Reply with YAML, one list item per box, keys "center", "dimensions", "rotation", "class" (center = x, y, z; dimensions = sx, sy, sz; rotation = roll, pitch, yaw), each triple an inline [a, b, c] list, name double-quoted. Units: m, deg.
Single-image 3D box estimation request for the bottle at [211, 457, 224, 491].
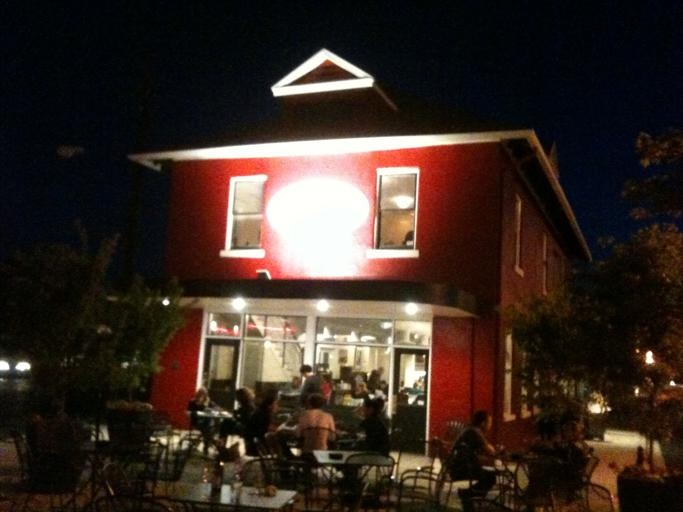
- center: [-1.452, 2.565, 7.435]
  dimensions: [0.110, 0.326, 0.274]
  rotation: [6, -13, -14]
  class: "bottle"
